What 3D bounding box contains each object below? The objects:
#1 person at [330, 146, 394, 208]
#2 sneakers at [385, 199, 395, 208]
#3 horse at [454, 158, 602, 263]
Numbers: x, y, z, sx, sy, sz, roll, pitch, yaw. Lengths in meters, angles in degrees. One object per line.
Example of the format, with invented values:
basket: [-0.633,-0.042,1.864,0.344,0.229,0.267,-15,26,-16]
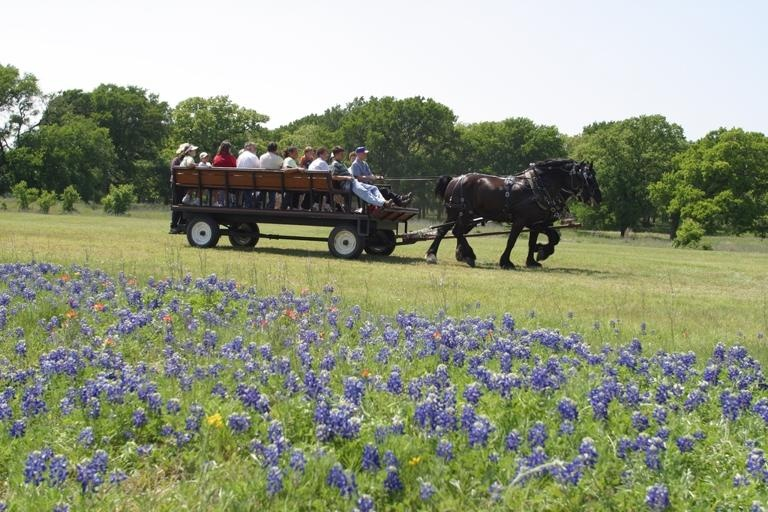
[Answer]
person: [-0.636,-1.920,20.099,1.821,1.399,0.830,8,7,43]
sneakers: [0.182,-1.253,20.095,0.217,0.109,0.320,6,8,16]
horse: [3.301,-1.099,20.537,3.412,2.698,1.543,4,5,3]
